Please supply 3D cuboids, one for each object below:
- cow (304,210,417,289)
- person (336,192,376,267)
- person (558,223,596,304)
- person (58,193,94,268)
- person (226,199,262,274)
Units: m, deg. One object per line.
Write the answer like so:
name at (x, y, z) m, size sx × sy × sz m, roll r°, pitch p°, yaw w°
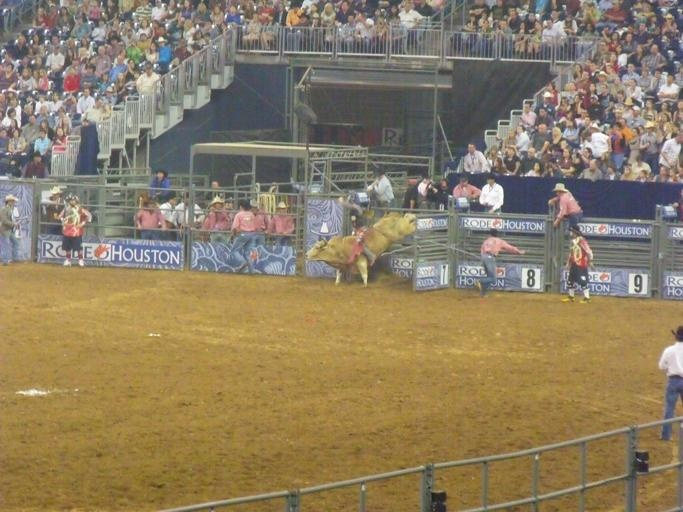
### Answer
cow at (1.006, -0.151, 66.084) m, size 2.674 × 2.326 × 2.722 m, roll 8°, pitch 13°, yaw 25°
person at (0.554, -0.658, 65.545) m, size 0.991 × 2.080 × 0.828 m, roll 10°, pitch 17°, yaw 29°
person at (7.013, 0.368, 64.198) m, size 0.570 × 2.141 × 0.903 m, roll 1°, pitch -1°, yaw -44°
person at (-8.179, -0.720, 67.553) m, size 0.778 × 2.269 × 0.835 m, roll 12°, pitch 13°, yaw 34°
person at (-3.021, -0.499, 67.223) m, size 0.792 × 2.158 × 0.771 m, roll -2°, pitch 15°, yaw -40°
